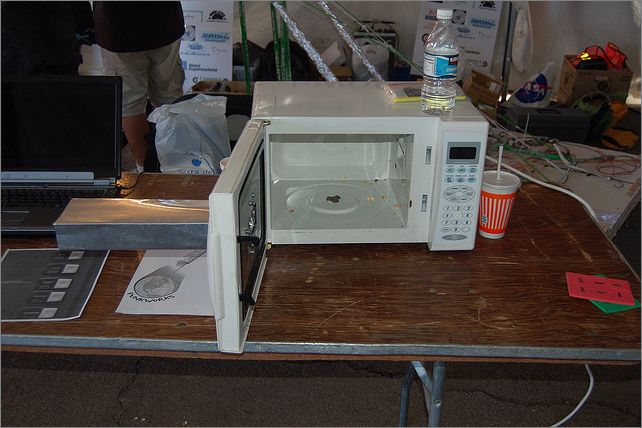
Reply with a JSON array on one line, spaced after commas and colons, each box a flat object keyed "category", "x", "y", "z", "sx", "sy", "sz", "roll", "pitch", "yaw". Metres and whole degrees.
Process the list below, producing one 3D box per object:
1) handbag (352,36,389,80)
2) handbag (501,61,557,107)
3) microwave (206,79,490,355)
[{"category": "handbag", "x": 0.469, "y": -1.518, "z": 4.642, "sx": 0.427, "sy": 0.357, "sz": 0.360, "roll": 13, "pitch": 33, "yaw": 25}, {"category": "handbag", "x": 1.955, "y": -1.180, "z": 4.344, "sx": 0.458, "sy": 0.367, "sz": 0.323, "roll": -19, "pitch": 34, "yaw": -28}, {"category": "microwave", "x": 0.108, "y": -0.111, "z": 1.613, "sx": 0.971, "sy": 0.444, "sz": 0.894, "roll": 0, "pitch": 34, "yaw": 0}]
